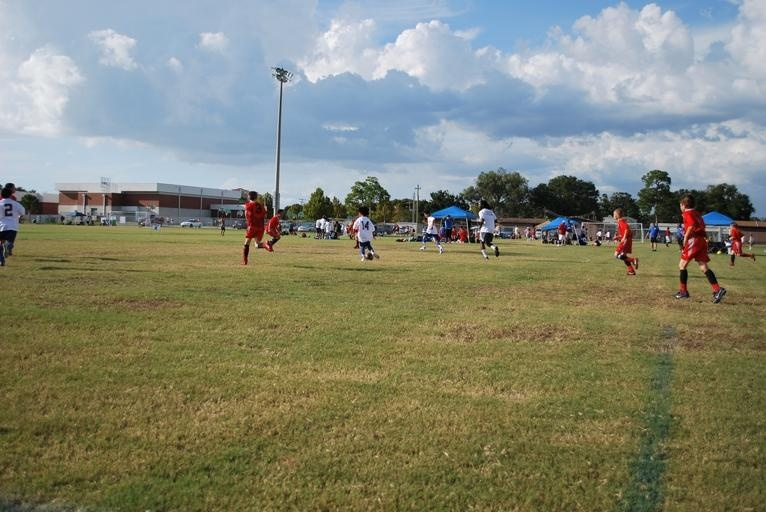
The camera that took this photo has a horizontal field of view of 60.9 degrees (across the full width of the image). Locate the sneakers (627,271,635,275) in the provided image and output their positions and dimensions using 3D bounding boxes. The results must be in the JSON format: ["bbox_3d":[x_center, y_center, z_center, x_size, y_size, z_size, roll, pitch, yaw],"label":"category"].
[{"bbox_3d":[6.399,0.425,16.925,0.095,0.111,0.260,0,-6,1],"label":"sneakers"}]

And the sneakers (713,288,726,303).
[{"bbox_3d":[6.133,0.714,11.923,0.105,0.234,0.084,26,38,35],"label":"sneakers"}]

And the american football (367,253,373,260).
[{"bbox_3d":[-0.407,-0.005,19.422,0.167,0.168,0.168,-4,46,2],"label":"american football"}]

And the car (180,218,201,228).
[{"bbox_3d":[-22.505,-3.826,76.003,1.719,1.303,3.055,0,-3,4],"label":"car"}]

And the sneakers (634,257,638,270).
[{"bbox_3d":[6.892,0.187,17.855,0.138,0.334,0.114,-2,42,18],"label":"sneakers"}]

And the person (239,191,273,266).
[{"bbox_3d":[-3.461,-0.781,18.285,1.018,2.098,1.098,3,1,9],"label":"person"}]
